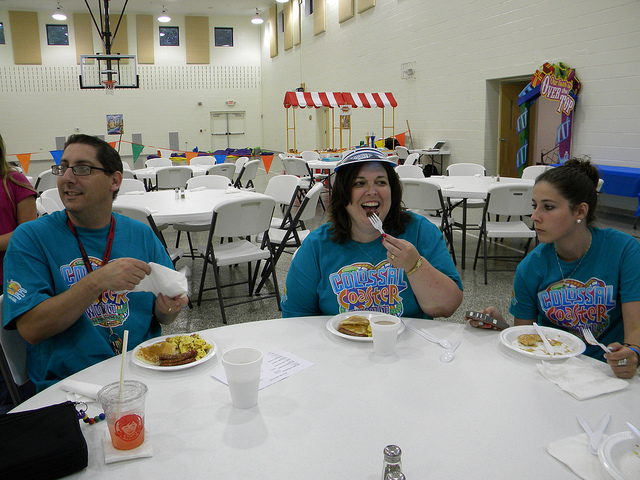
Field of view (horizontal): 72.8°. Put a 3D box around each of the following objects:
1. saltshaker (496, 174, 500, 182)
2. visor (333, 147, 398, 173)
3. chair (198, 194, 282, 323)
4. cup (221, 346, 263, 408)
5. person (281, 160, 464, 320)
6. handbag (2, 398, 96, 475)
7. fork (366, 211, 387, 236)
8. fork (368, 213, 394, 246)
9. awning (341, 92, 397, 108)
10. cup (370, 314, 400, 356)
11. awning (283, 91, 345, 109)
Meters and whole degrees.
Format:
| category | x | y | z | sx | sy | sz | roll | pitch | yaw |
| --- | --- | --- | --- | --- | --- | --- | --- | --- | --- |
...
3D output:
| category | x | y | z | sx | sy | sz | roll | pitch | yaw |
| --- | --- | --- | --- | --- | --- | --- | --- | --- | --- |
| saltshaker | 2.144 | -0.722 | 5.214 | 0.040 | 0.058 | 0.181 | 5 | 19 | 20 |
| visor | 0.198 | -0.358 | 1.963 | 0.255 | 0.104 | 0.179 | -8 | 19 | -19 |
| chair | -0.730 | 0.112 | 3.852 | 0.661 | 1.086 | 0.724 | -1 | 15 | -12 |
| cup | -0.217 | 0.383 | 1.296 | 0.146 | 0.175 | 0.153 | -2 | 3 | 0 |
| person | 0.222 | 0.034 | 1.871 | 0.782 | 0.715 | 0.435 | -3 | 17 | -7 |
| handbag | -0.701 | 0.508 | 1.109 | 0.185 | 0.069 | 0.220 | -11 | 20 | -28 |
| fork | 0.242 | -0.071 | 1.869 | 0.019 | 0.122 | 0.014 | -27 | -23 | -10 |
| fork | 0.253 | -0.038 | 1.786 | 0.025 | 0.187 | 0.021 | -29 | -21 | 9 |
| awning | 1.180 | -3.245 | 10.066 | 1.215 | 0.317 | 0.578 | -7 | 19 | -19 |
| cup | 0.220 | 0.330 | 1.548 | 0.107 | 0.119 | 0.117 | -1 | 11 | 0 |
| awning | -0.146 | -3.224 | 9.981 | 1.107 | 0.323 | 0.602 | -6 | 18 | -20 |
